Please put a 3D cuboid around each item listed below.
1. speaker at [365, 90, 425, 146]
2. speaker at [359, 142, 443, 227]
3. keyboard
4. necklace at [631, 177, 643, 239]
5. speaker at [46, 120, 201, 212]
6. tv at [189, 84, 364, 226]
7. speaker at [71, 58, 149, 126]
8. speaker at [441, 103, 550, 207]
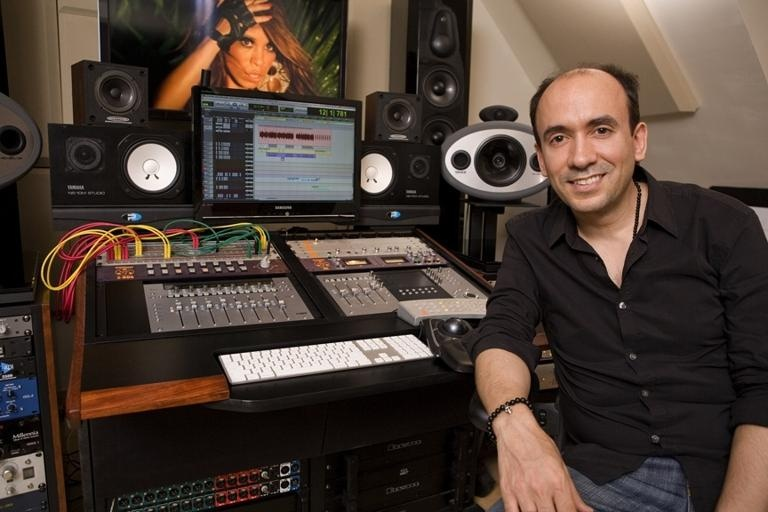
[{"bbox_3d":[0.044,-0.718,2.806,0.257,0.240,0.177,-1,8,-22],"label":"speaker"},{"bbox_3d":[0.059,-0.405,2.761,0.439,0.407,0.234,-2,27,-6],"label":"speaker"},{"bbox_3d":[-0.189,0.339,1.823,0.712,0.072,0.158,-6,10,-17],"label":"keyboard"},{"bbox_3d":[0.849,-0.159,1.791,0.057,0.192,0.009,1,-19,18],"label":"necklace"},{"bbox_3d":[-1.134,-0.418,2.401,0.576,0.366,0.338,4,19,-6],"label":"speaker"},{"bbox_3d":[-0.487,-0.432,2.362,0.672,0.488,0.113,0,3,-21],"label":"tv"},{"bbox_3d":[-1.180,-0.694,2.301,0.371,0.344,0.204,-5,11,-37],"label":"speaker"},{"bbox_3d":[0.651,-0.554,2.825,0.610,0.497,0.358,3,20,22],"label":"speaker"}]
